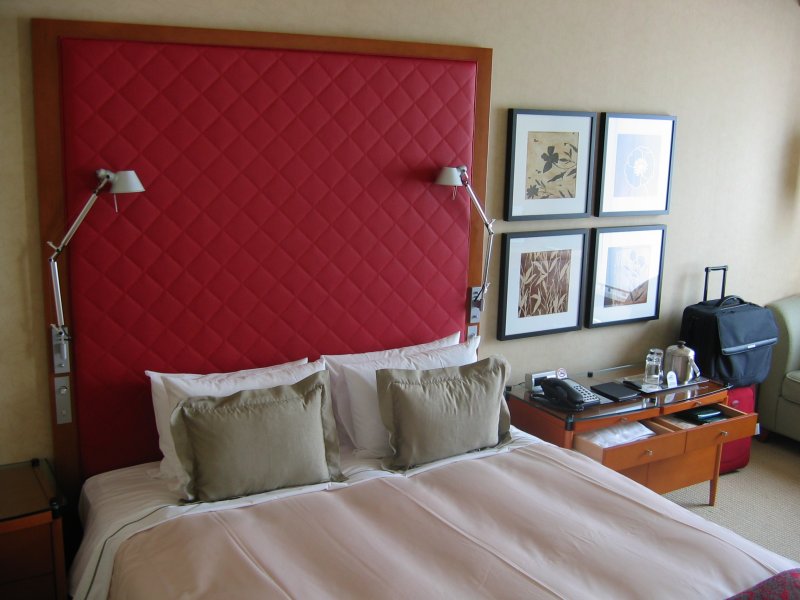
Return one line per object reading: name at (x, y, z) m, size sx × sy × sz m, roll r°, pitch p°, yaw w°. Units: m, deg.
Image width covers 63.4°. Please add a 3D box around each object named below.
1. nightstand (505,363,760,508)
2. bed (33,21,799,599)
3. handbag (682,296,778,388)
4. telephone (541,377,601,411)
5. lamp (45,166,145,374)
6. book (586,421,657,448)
nightstand at (1.425, 0.470, 4.057) m, size 1.108 × 0.768 × 0.851 m, roll -10°, pitch 19°, yaw -29°
bed at (-0.003, 0.034, 3.426) m, size 2.558 × 2.814 × 0.937 m, roll -9°, pitch 17°, yaw -27°
handbag at (2.410, 0.303, 4.698) m, size 0.572 × 0.645 × 0.441 m, roll -7°, pitch 5°, yaw -13°
telephone at (0.993, 0.553, 3.910) m, size 0.173 × 0.091 × 0.247 m, roll -9°, pitch 14°, yaw -32°
lamp at (-1.435, -0.117, 3.073) m, size 0.464 × 0.973 × 0.254 m, roll -3°, pitch 7°, yaw -21°
book at (1.301, 0.789, 3.810) m, size 0.234 × 0.064 × 0.175 m, roll -9°, pitch 18°, yaw -26°
